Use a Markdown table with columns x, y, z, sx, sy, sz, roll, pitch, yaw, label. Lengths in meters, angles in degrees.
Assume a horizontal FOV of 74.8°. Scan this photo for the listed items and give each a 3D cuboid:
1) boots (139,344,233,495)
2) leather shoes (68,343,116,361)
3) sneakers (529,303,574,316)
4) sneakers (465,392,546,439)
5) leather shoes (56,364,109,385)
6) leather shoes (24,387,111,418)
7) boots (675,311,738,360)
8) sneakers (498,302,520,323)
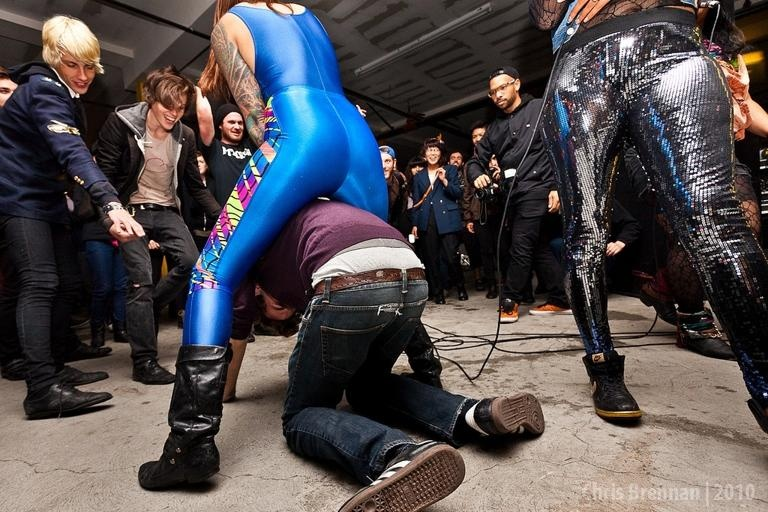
| x | y | z | sx | sy | sz | roll | pitch | yaw | label |
| --- | --- | --- | --- | --- | --- | --- | --- | --- | --- |
| -0.721 | 0.574 | 1.806 | 0.326 | 0.518 | 0.201 | 0 | -3 | -17 | boots |
| -1.974 | 0.635 | 3.406 | 0.264 | 0.096 | 0.091 | -3 | 3 | -20 | leather shoes |
| 1.300 | 0.393 | 3.935 | 0.311 | 0.112 | 0.112 | 2 | 0 | 19 | sneakers |
| 0.475 | 0.601 | 1.933 | 0.299 | 0.143 | 0.137 | 6 | -5 | -32 | sneakers |
| -1.671 | 0.656 | 2.820 | 0.264 | 0.090 | 0.090 | 0 | 1 | -17 | leather shoes |
| -1.508 | 0.682 | 2.444 | 0.375 | 0.142 | 0.149 | -2 | -3 | -13 | leather shoes |
| 1.684 | 0.392 | 2.630 | 0.154 | 0.201 | 0.431 | -7 | 5 | 0 | boots |
| 0.923 | 0.418 | 3.712 | 0.171 | 0.168 | 0.453 | -4 | -10 | 19 | sneakers |
